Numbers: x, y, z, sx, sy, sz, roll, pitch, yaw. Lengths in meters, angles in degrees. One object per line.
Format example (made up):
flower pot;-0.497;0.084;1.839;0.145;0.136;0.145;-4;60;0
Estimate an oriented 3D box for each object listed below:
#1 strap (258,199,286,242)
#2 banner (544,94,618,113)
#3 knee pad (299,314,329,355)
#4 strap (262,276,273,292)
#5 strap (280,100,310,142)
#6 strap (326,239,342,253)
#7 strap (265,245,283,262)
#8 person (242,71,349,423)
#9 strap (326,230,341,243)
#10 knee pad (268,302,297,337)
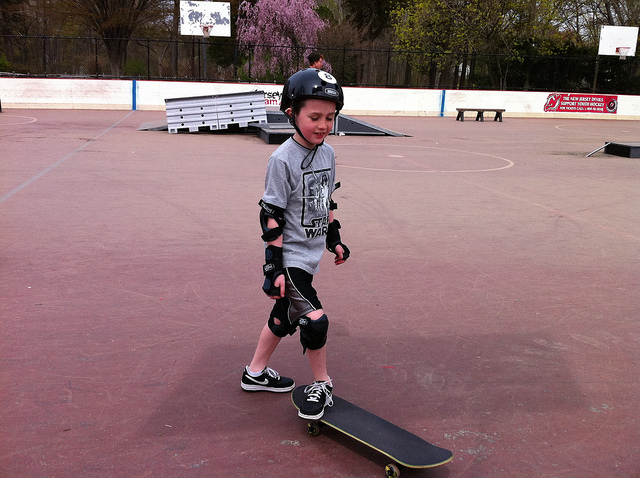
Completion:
strap;-0.275;-0.113;3.404;0.176;0.229;0.080;4;45;-42
banner;13.805;-7.156;30.176;4.034;0.992;0.258;0;12;-11
knee pad;-0.053;0.582;3.518;0.187;0.239;0.183;2;7;38
strap;-0.314;0.268;3.377;0.060;0.075;0.076;6;-6;3
strap;-0.163;-0.711;3.483;0.167;0.215;0.117;-22;6;-22
strap;0.083;0.044;3.727;0.064;0.084;0.038;-35;23;-8
strap;-0.279;0.086;3.364;0.093;0.070;0.093;2;3;6
person;-0.156;0.048;3.447;0.536;2.069;0.566;1;11;-6
strap;0.092;-0.017;3.710;0.075;0.060;0.074;-1;-1;-1
knee pad;-0.251;0.518;3.618;0.153;0.207;0.214;-2;4;-5
